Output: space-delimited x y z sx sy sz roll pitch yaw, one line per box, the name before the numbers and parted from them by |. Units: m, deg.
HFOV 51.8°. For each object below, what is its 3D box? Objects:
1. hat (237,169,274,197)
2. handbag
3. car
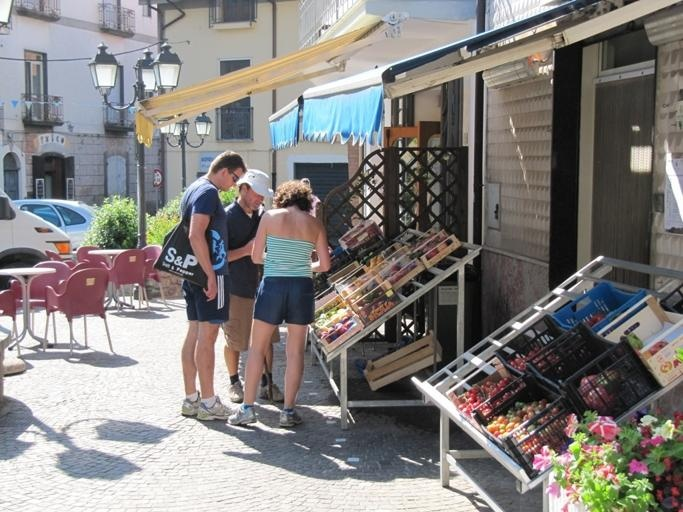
hat | -0.794 -0.665 6.645 0.337 0.189 0.248 19 9 16
handbag | -1.482 -0.008 6.309 0.483 0.599 0.297 6 12 38
car | -6.837 -1.002 17.399 2.191 1.170 1.318 7 -2 -8
